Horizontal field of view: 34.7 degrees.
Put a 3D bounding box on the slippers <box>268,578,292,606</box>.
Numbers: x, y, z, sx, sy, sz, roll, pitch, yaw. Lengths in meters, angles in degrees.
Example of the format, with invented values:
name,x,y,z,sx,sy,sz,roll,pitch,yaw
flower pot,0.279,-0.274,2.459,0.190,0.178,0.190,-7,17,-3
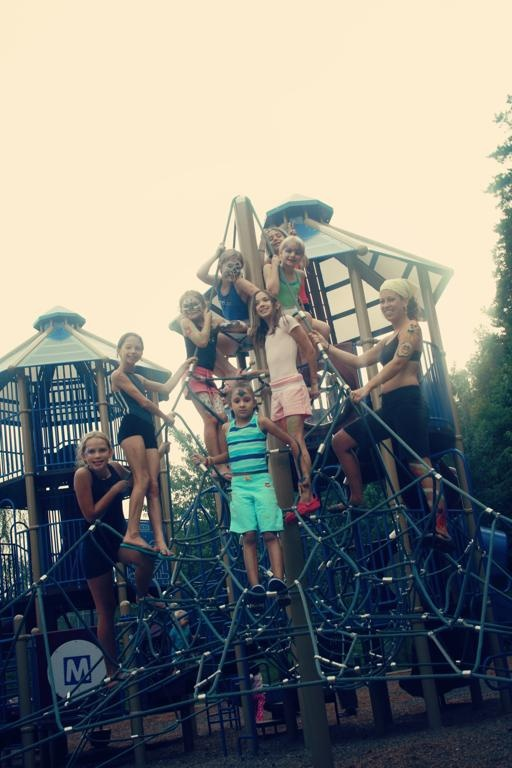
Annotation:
name,x,y,z,sx,sy,sz,roll,pitch,yaw
slippers,0.167,1.342,5.226,0.106,0.279,0.108,-13,31,8

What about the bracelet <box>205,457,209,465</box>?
name,x,y,z,sx,sy,sz,roll,pitch,yaw
bracelet,-0.350,0.574,6.049,0.014,0.043,0.034,2,17,31

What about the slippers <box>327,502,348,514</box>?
name,x,y,z,sx,sy,sz,roll,pitch,yaw
slippers,0.641,0.986,6.441,0.070,0.078,0.202,4,-27,-17

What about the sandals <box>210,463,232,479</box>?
name,x,y,z,sx,sy,sz,roll,pitch,yaw
sandals,-0.280,0.719,6.691,0.097,0.157,0.160,-5,-2,0

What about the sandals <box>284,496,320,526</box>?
name,x,y,z,sx,sy,sz,roll,pitch,yaw
sandals,0.344,0.912,5.933,0.318,0.123,0.125,-35,-10,1

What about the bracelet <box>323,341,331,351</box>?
name,x,y,z,sx,sy,sz,roll,pitch,yaw
bracelet,0.572,-0.301,6.570,0.072,0.077,0.080,-2,-15,3

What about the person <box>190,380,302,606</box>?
name,x,y,z,sx,sy,sz,roll,pitch,yaw
person,0.011,0.671,5.779,0.645,1.434,0.893,-10,-11,-6

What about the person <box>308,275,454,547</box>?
name,x,y,z,sx,sy,sz,roll,pitch,yaw
person,0.999,0.160,6.464,0.894,2.238,1.557,-13,-11,11

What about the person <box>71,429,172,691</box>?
name,x,y,z,sx,sy,sz,roll,pitch,yaw
person,-1.001,1.260,5.974,0.512,1.848,1.024,-9,-11,-12

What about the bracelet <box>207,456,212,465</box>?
name,x,y,z,sx,sy,sz,roll,pitch,yaw
bracelet,-0.335,0.571,6.071,0.018,0.049,0.038,-6,0,7
